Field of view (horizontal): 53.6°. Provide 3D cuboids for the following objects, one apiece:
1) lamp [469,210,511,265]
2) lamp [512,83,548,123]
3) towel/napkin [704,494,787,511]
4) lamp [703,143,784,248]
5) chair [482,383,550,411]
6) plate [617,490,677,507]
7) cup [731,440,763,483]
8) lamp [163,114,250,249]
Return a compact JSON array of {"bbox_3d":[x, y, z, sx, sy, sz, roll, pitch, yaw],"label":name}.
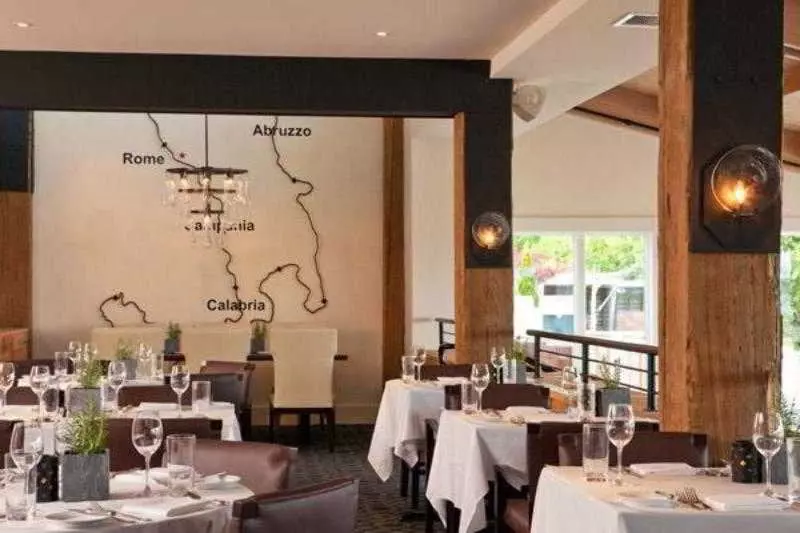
[{"bbox_3d":[0.762,-0.227,7.077,0.454,0.623,0.412,1,-5,-7],"label":"lamp"},{"bbox_3d":[1.180,-1.489,7.219,0.350,0.269,0.243,-1,-4,-4],"label":"lamp"},{"bbox_3d":[1.535,1.034,3.488,0.362,0.046,0.124,-1,-4,2],"label":"towel/napkin"},{"bbox_3d":[1.979,-0.413,4.560,0.361,0.524,0.330,16,14,20],"label":"lamp"},{"bbox_3d":[0.811,0.901,5.510,0.465,0.160,0.208,-1,-4,5],"label":"chair"},{"bbox_3d":[1.100,1.027,3.503,0.260,0.049,0.152,-1,-4,5],"label":"plate"},{"bbox_3d":[1.680,0.951,3.906,0.177,0.189,0.157,-2,-2,10],"label":"cup"},{"bbox_3d":[-2.090,-1.056,8.623,0.959,1.509,1.796,0,-4,-16],"label":"lamp"}]
